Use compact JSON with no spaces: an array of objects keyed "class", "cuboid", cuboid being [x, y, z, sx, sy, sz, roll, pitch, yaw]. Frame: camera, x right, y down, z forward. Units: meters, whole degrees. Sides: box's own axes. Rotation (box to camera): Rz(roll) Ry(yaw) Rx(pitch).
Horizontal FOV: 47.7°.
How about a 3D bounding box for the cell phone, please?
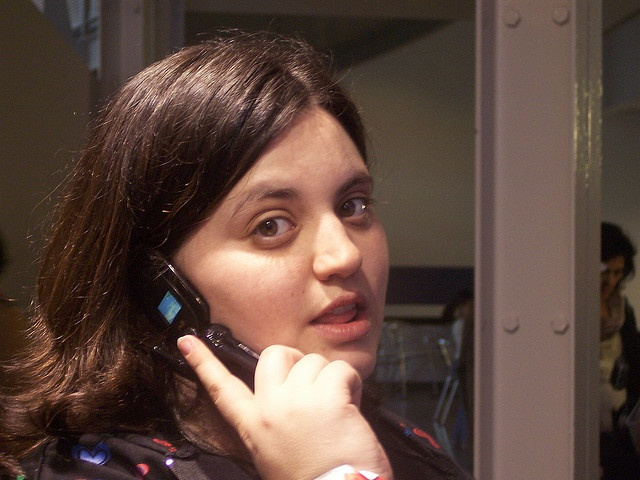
[{"class":"cell phone","cuboid":[-0.247,0.177,1.513,0.041,0.308,0.131,-29,-17,-45]}]
